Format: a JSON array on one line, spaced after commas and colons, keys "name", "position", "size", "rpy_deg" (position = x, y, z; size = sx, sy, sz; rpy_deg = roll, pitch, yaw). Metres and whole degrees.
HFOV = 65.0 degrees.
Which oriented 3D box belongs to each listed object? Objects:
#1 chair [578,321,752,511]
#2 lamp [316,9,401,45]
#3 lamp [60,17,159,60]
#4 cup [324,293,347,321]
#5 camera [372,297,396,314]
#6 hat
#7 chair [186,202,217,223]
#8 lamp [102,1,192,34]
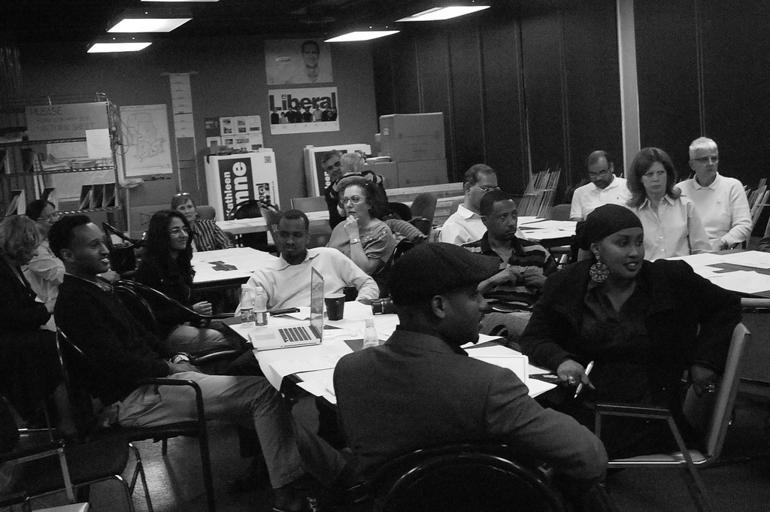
[{"name": "chair", "position": [1.391, 0.710, 2.992], "size": [0.895, 0.983, 0.743], "rpy_deg": [0, 0, 4]}, {"name": "lamp", "position": [-0.594, -4.348, 11.447], "size": [1.460, 0.310, 1.230], "rpy_deg": [-10, 13, -16]}, {"name": "lamp", "position": [-4.564, -3.684, 10.007], "size": [1.293, 0.275, 1.135], "rpy_deg": [-3, -11, -35]}, {"name": "cup", "position": [-0.295, 0.305, 3.669], "size": [0.142, 0.122, 0.159], "rpy_deg": [0, -3, -2]}, {"name": "camera", "position": [-0.013, 0.315, 3.736], "size": [0.126, 0.062, 0.156], "rpy_deg": [-1, 7, -4]}, {"name": "hat", "position": [0.184, 0.038, 1.924], "size": [0.290, 0.119, 0.195], "rpy_deg": [-20, 9, -4]}, {"name": "chair", "position": [-2.586, -0.603, 8.466], "size": [0.315, 0.343, 0.328], "rpy_deg": [-2, -1, -21]}, {"name": "lamp", "position": [-3.138, -3.190, 7.977], "size": [0.773, 0.319, 1.087], "rpy_deg": [-9, 9, -34]}]
